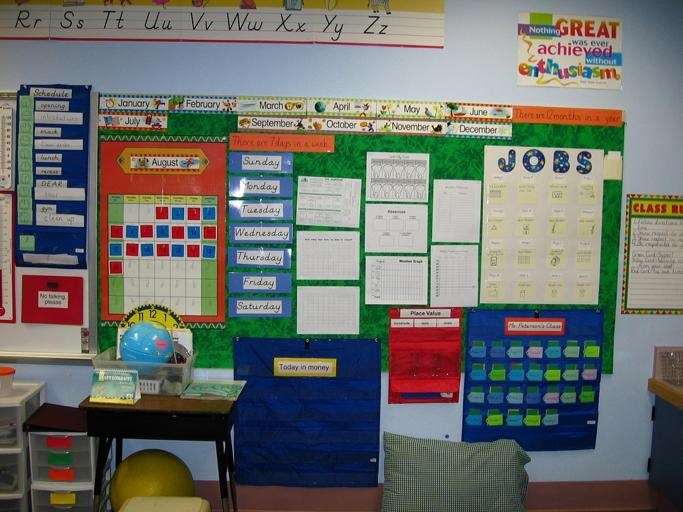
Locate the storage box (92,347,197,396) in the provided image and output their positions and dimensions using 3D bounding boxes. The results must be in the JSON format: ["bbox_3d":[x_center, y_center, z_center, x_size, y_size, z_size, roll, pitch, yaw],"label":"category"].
[{"bbox_3d":[-1.097,0.671,4.611,0.462,0.253,0.415,4,5,5],"label":"storage box"}]
